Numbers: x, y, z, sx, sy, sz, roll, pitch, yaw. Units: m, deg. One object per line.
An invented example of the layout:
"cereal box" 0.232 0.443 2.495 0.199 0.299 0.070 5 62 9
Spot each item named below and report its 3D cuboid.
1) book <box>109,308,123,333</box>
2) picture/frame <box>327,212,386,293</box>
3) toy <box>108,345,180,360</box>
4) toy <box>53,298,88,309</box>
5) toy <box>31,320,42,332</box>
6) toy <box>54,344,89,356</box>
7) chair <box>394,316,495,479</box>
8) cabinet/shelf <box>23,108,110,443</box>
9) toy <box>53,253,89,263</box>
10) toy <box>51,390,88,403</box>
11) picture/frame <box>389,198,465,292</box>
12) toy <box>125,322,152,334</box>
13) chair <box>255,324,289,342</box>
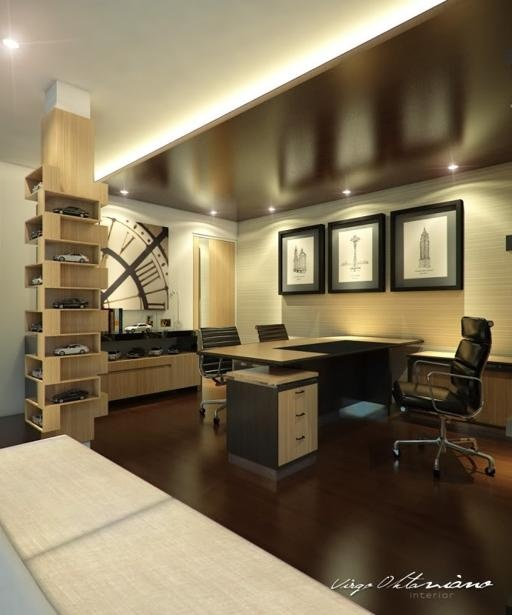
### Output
"book" -1.767 0.165 5.665 0.098 0.312 0.233 0 0 22
"picture/frame" 1.307 -0.693 5.617 0.096 1.339 1.042 -1 0 -40
"toy" -1.415 0.567 5.549 0.330 0.118 1.082 0 0 39
"toy" -1.375 -0.013 3.311 0.085 0.066 0.188 -3 -6 44
"toy" -1.692 0.139 3.418 0.081 0.043 0.116 0 2 -30
"toy" -1.367 0.318 3.294 0.178 0.063 0.079 5 -6 -41
"chair" 1.426 0.643 3.376 0.704 1.117 0.744 0 3 -10
"cabinet/shelf" -1.448 -0.175 3.425 0.588 2.572 0.564 0 0 -28
"toy" -1.377 -0.348 3.330 0.201 0.063 0.085 5 -3 -40
"toy" -1.381 0.658 3.314 0.088 0.059 0.177 -1 -5 44
"picture/frame" 1.933 -0.692 4.918 0.062 1.460 1.056 -2 1 -42
"toy" -1.531 0.269 5.744 0.131 0.100 0.275 -4 -6 41
"chair" 0.196 0.296 5.045 0.224 0.355 0.255 -1 0 -39
